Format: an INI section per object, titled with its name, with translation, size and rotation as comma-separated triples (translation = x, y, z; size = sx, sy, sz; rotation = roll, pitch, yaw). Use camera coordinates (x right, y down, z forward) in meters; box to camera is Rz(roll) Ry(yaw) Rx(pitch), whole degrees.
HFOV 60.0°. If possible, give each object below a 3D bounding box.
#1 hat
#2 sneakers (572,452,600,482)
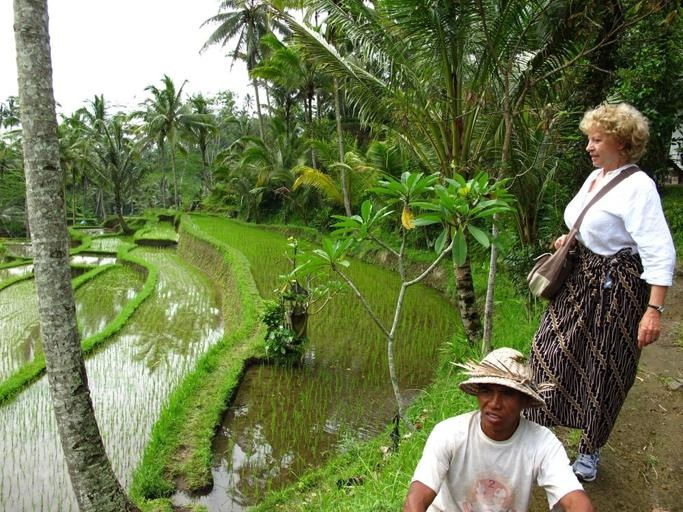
[hat]
translation = 0.923, 0.762, 3.316
size = 0.352, 0.213, 0.381
rotation = -5, -27, 31
[sneakers]
translation = 1.657, 1.424, 4.000
size = 0.130, 0.185, 0.384
rotation = 4, -9, 27
